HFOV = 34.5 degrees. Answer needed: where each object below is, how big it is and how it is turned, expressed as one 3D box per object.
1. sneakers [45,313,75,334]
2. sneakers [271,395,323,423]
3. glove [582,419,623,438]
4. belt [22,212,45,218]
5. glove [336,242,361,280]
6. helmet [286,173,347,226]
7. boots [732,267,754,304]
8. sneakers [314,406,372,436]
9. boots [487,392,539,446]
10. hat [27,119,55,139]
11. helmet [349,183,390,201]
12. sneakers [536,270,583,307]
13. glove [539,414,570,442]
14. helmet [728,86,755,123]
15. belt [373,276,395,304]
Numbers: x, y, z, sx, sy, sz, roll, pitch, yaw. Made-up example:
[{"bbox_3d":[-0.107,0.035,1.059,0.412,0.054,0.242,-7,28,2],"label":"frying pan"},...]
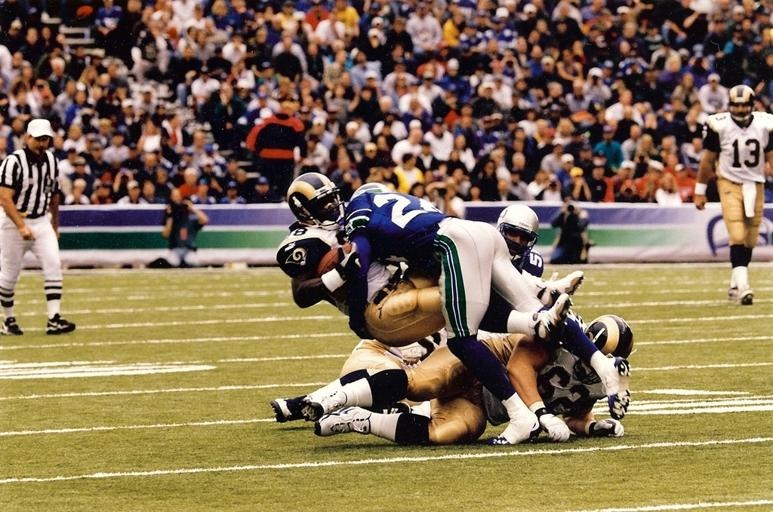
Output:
[{"bbox_3d":[-3.854,0.819,14.604,0.437,0.283,0.155,-6,37,-9],"label":"sneakers"},{"bbox_3d":[-0.721,1.249,10.177,0.337,0.135,0.273,-2,4,-43],"label":"sneakers"},{"bbox_3d":[1.810,1.407,10.281,0.203,0.085,0.197,4,-7,-31],"label":"glove"},{"bbox_3d":[-4.091,-0.486,14.376,0.270,0.104,0.085,-1,2,-24],"label":"belt"},{"bbox_3d":[-0.291,0.038,10.293,0.188,0.302,0.134,46,30,23],"label":"glove"},{"bbox_3d":[-0.618,-0.535,10.753,0.497,0.373,0.405,23,47,29],"label":"helmet"},{"bbox_3d":[4.464,0.396,15.543,0.207,0.282,0.625,-12,-16,5],"label":"boots"},{"bbox_3d":[-0.363,1.376,10.138,0.389,0.160,0.239,-12,-16,8],"label":"sneakers"},{"bbox_3d":[0.998,1.324,10.072,0.582,0.402,0.196,-6,3,-20],"label":"boots"},{"bbox_3d":[-4.020,-1.477,14.328,0.268,0.227,0.306,-1,2,-16],"label":"hat"},{"bbox_3d":[-0.126,-0.560,10.616,0.322,0.133,0.258,0,2,-1],"label":"helmet"},{"bbox_3d":[1.434,0.255,10.398,0.264,0.162,0.542,13,-31,-41],"label":"sneakers"},{"bbox_3d":[1.416,1.393,10.154,0.341,0.243,0.119,-2,3,-38],"label":"glove"},{"bbox_3d":[4.375,-1.862,15.248,0.288,0.477,0.280,0,2,15],"label":"helmet"},{"bbox_3d":[-0.038,0.282,10.378,0.072,0.192,0.144,32,-4,13],"label":"belt"}]
